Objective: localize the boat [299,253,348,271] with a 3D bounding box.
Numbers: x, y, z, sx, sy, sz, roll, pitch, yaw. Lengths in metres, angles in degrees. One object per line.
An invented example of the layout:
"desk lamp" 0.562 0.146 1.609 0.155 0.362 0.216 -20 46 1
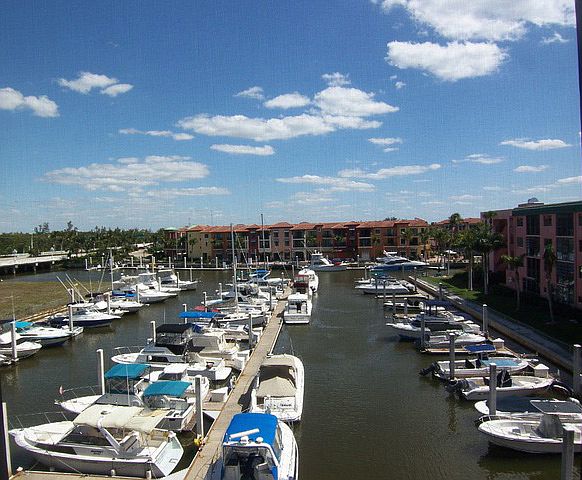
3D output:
"boat" 5.598 3.444 78.916 6.957 3.212 2.908 1 -1 4
